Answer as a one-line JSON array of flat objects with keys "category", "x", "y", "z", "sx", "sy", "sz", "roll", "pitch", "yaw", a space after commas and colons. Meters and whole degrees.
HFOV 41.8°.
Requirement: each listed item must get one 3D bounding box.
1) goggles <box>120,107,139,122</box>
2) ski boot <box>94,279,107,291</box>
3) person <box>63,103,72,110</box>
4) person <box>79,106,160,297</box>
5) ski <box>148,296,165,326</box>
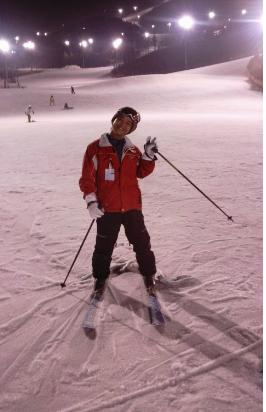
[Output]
[{"category": "goggles", "x": -0.034, "y": -0.774, "z": 2.940, "sx": 0.118, "sy": 0.124, "sz": 0.140, "roll": 9, "pitch": 20, "yaw": 39}, {"category": "ski boot", "x": -0.310, "y": 0.710, "z": 3.272, "sx": 0.095, "sy": 0.153, "sz": 0.103, "roll": -6, "pitch": 11, "yaw": -27}, {"category": "person", "x": -4.917, "y": -7.575, "z": 26.417, "sx": 0.532, "sy": 0.513, "sz": 1.303, "roll": -6, "pitch": 16, "yaw": -8}, {"category": "person", "x": -0.085, "y": 0.007, "z": 3.073, "sx": 0.702, "sy": 1.693, "sz": 0.408, "roll": -7, "pitch": 16, "yaw": -12}, {"category": "ski", "x": 0.196, "y": 0.924, "z": 3.030, "sx": 0.092, "sy": 0.034, "sz": 0.341, "roll": -1, "pitch": 13, "yaw": -2}]
